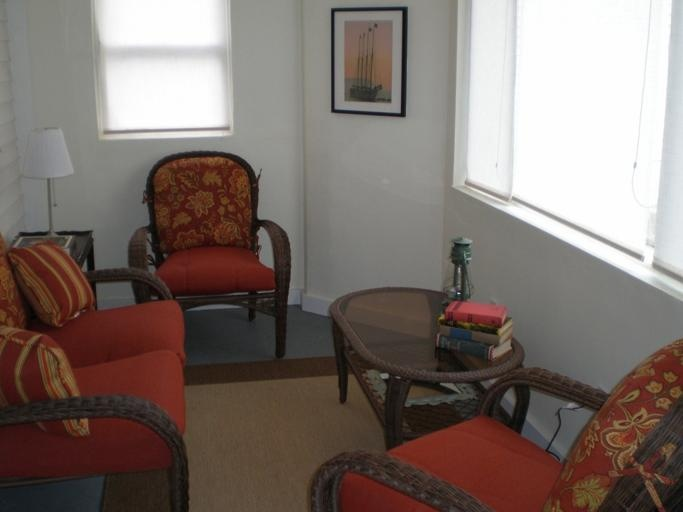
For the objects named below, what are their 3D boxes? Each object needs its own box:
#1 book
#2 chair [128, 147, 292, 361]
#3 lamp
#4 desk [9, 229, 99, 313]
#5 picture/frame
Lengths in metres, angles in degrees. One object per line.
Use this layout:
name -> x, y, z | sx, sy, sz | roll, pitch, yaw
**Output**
book -> 0.537, 0.251, 2.121 | 0.211, 0.149, 0.220 | 10, 21, 32
chair -> -0.756, 0.004, 3.225 | 0.912, 1.244, 0.945 | 1, 11, 5
lamp -> -1.716, -0.425, 3.158 | 0.241, 0.644, 0.546 | -11, 20, -29
desk -> -1.600, 0.074, 3.087 | 0.310, 0.375, 0.395 | 12, 17, -10
picture/frame -> 0.186, -1.210, 3.305 | 0.592, 0.783, 0.048 | 5, 16, 22
